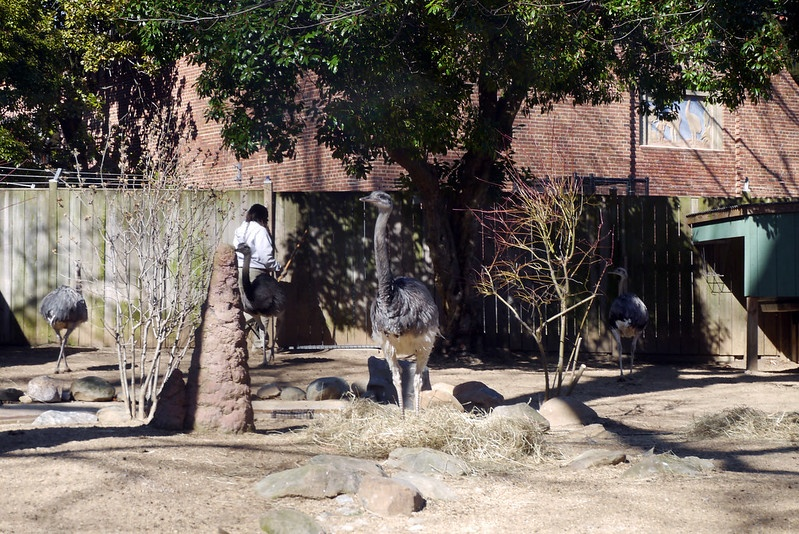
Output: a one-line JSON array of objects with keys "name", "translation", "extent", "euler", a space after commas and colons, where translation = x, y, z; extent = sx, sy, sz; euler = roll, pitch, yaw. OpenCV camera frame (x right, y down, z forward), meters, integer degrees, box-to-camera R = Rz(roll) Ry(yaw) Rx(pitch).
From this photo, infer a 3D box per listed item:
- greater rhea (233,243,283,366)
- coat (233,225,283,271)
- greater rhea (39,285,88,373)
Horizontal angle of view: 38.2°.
[{"name": "greater rhea", "translation": [-2.706, 0.573, 22.528], "extent": [0.925, 2.331, 0.765], "euler": [-13, 28, -30]}, {"name": "coat", "translation": [-2.801, -0.337, 22.904], "extent": [0.794, 0.897, 0.853], "euler": [1, -2, -22]}, {"name": "greater rhea", "translation": [-6.468, 1.208, 22.246], "extent": [0.828, 1.931, 1.691], "euler": [-5, -11, -9]}]
